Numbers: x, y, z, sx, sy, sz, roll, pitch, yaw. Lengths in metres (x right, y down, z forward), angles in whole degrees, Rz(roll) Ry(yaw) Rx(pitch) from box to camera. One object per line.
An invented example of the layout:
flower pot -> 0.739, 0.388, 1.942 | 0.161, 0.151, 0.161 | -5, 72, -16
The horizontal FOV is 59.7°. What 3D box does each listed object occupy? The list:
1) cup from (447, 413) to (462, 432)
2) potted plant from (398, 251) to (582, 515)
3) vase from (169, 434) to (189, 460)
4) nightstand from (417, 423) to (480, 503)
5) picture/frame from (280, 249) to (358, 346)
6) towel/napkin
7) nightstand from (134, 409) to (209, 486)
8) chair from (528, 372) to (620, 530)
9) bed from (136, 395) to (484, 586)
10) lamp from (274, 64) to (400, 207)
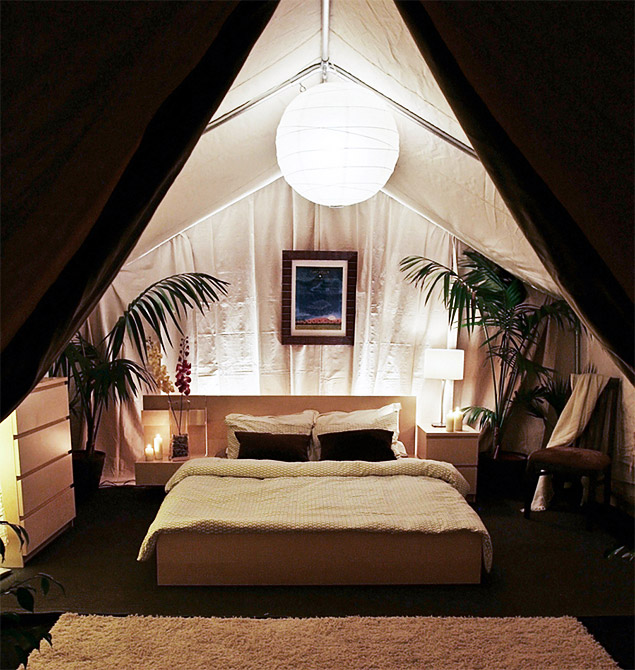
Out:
cup -> 1.085, 0.679, 4.306 | 0.127, 0.150, 0.125 | 1, -3, 0
potted plant -> 1.437, 0.288, 5.337 | 1.450, 2.229, 1.831 | -2, 4, -18
vase -> -1.060, 0.857, 4.257 | 0.143, 0.254, 0.154 | 0, -1, 19
nightstand -> 1.045, 0.947, 4.219 | 0.357, 0.576, 0.511 | 0, -5, -1
picture/frame -> -0.006, -0.354, 4.681 | 0.732, 0.993, 0.049 | 1, 4, -3
towel/napkin -> 1.805, 0.753, 3.937 | 0.463, 1.028, 0.303 | 5, -8, -1
nightstand -> -1.088, 0.846, 4.176 | 0.566, 0.592, 0.303 | 0, -3, -4
chair -> 1.753, 0.772, 3.945 | 0.553, 0.991, 0.331 | 0, 2, -19
bed -> -0.082, 0.907, 3.681 | 2.618, 0.755, 1.830 | 0, 2, -1
lamp -> 0.102, -0.976, 2.892 | 0.598, 0.740, 0.631 | -1, 13, -5
